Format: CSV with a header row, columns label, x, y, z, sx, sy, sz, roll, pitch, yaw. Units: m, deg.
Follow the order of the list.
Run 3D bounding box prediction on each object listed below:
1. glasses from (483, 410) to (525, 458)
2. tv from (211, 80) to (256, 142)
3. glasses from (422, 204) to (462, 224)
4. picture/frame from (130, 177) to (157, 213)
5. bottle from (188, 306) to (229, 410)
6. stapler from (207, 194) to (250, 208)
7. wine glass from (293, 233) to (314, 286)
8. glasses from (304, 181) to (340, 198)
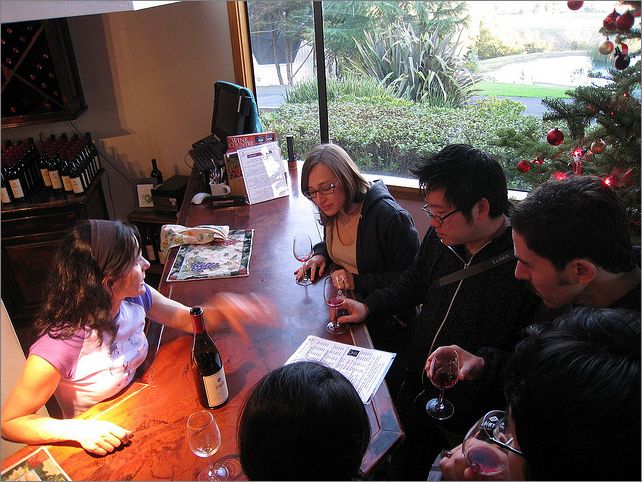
label,x,y,z,sx,sy,sz,roll,pitch,yaw
glasses,0.583,0.627,1.509,0.140,0.051,0.104,31,24,1
tv,-0.714,-1.072,3.902,0.280,0.530,0.558,-12,27,-39
glasses,0.564,-0.112,2.070,0.105,0.031,0.105,-33,39,-18
picture/frame,-1.659,-0.450,4.339,0.224,0.289,0.138,-7,17,-8
bottle,-0.459,0.482,1.846,0.128,0.326,0.221,-10,18,-17
stapler,-0.670,-0.297,3.347,0.266,0.093,0.072,-9,18,-12
wine glass,-0.100,0.089,2.520,0.099,0.242,0.222,-5,18,-2
glasses,0.008,-0.301,2.667,0.102,0.032,0.106,-19,15,45
